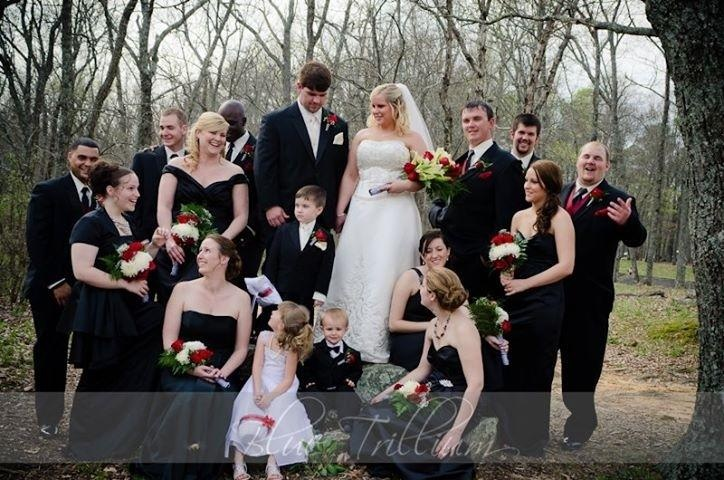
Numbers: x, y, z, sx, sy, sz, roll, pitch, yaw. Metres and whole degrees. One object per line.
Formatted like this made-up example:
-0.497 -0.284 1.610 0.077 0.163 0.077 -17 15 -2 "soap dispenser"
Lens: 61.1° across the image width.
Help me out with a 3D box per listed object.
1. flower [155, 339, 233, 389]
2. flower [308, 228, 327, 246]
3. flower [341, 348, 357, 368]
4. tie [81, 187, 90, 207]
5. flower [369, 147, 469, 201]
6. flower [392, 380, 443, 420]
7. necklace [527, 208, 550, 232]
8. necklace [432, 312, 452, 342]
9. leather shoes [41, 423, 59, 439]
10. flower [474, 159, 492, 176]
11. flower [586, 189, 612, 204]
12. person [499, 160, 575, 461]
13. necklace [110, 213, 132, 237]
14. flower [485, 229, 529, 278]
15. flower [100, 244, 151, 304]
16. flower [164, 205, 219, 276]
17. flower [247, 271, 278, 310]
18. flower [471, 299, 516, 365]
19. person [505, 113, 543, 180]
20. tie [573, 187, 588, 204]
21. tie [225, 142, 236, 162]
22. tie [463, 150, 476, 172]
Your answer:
-2.241 1.469 7.699 0.659 0.408 0.221 0 8 -5 "flower"
-0.602 -0.048 8.499 0.234 0.211 0.140 3 8 14 "flower"
-0.162 1.558 8.143 0.187 0.186 0.081 -6 -11 -19 "flower"
-3.884 -0.604 8.573 0.061 0.223 0.134 3 6 40 "tie"
0.908 -0.958 8.804 1.030 0.579 0.805 -14 36 8 "flower"
0.753 1.943 7.724 0.529 0.235 0.558 -1 2 -18 "flower"
2.356 -0.267 8.120 0.130 0.225 0.277 11 54 14 "necklace"
1.025 1.117 7.826 0.234 0.299 0.083 12 7 42 "necklace"
-4.184 2.513 8.178 0.223 0.164 0.170 -4 9 -31 "leather shoes"
1.731 -1.017 8.740 0.242 0.229 0.079 2 8 8 "flower"
3.295 -0.613 8.423 0.209 0.203 0.098 -23 6 3 "flower"
2.244 0.864 8.079 0.818 3.817 0.875 6 9 32 "person"
-3.207 -0.193 8.122 0.278 0.076 0.201 47 24 18 "necklace"
1.922 0.155 8.273 0.554 0.544 0.553 38 -19 -21 "flower"
-3.034 0.364 8.021 0.510 0.514 0.446 44 -11 13 "flower"
-2.268 -0.087 8.631 0.803 0.681 1.014 -8 46 -5 "flower"
-1.339 0.694 8.305 0.420 0.510 0.263 -13 35 26 "flower"
1.760 1.148 8.018 0.523 0.805 0.616 -20 25 29 "flower"
2.532 -1.495 9.472 0.596 0.919 0.546 7 10 4 "person"
3.083 -0.628 8.611 0.091 0.083 0.314 23 46 30 "tie"
-2.069 -1.385 9.710 0.097 0.361 0.077 14 -7 21 "tie"
1.565 -1.152 8.934 0.115 0.415 0.095 15 -17 20 "tie"
